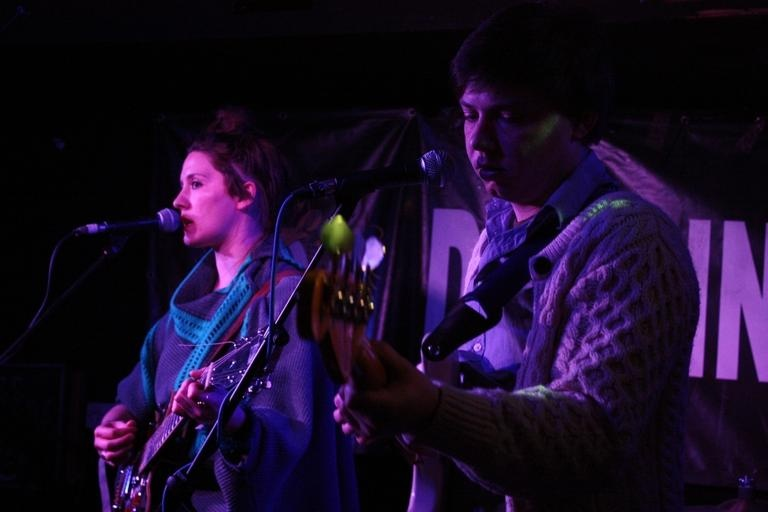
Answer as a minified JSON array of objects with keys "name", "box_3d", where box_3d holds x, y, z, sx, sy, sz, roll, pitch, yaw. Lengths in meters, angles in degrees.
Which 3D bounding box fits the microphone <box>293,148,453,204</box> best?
[{"name":"microphone","box_3d":[-0.012,-0.332,3.296,0.728,0.211,0.237,-11,27,11]}]

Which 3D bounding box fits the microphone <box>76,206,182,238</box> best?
[{"name":"microphone","box_3d":[-1.501,-0.216,4.597,0.609,0.186,0.181,-6,5,-30]}]
